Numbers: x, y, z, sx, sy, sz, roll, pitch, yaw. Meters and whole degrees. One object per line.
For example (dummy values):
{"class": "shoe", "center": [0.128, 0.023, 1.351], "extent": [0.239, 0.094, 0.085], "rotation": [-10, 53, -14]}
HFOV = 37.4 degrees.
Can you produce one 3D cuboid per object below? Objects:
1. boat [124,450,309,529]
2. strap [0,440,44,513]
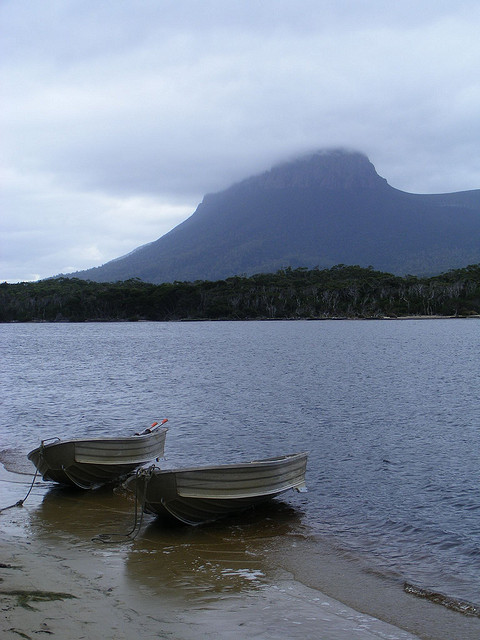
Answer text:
{"class": "boat", "center": [-0.282, 3.691, 15.630], "extent": [3.114, 0.823, 1.730], "rotation": [3, -14, -38]}
{"class": "strap", "center": [-5.828, 4.236, 19.006], "extent": [0.366, 0.266, 2.293], "rotation": [4, 40, 35]}
